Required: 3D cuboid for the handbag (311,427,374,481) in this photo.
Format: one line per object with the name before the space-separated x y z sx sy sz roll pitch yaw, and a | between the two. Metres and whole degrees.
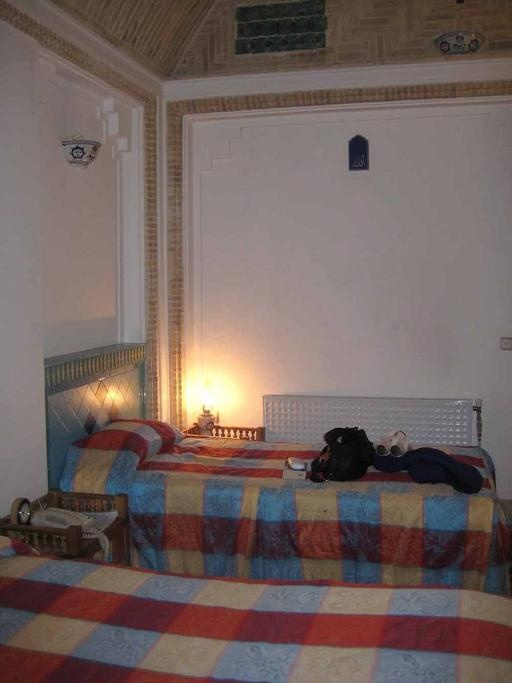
handbag | 0.496 0.677 3.563 0.313 0.301 0.136 -9 -45 23
